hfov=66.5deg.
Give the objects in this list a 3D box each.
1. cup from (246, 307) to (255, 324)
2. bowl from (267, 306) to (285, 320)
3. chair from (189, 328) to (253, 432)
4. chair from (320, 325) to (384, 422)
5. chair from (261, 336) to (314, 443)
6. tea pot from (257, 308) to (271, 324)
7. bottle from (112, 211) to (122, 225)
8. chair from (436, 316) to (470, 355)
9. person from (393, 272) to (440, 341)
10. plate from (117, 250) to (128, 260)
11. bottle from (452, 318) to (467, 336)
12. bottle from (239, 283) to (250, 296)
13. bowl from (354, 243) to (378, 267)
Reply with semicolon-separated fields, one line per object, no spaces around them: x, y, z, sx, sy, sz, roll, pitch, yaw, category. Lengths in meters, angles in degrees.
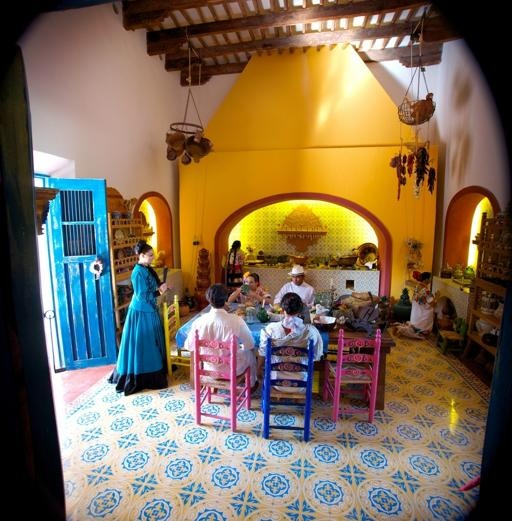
-0.072;0.706;4.983;0.105;0.162;0.128;-10;17;-36;cup
0.262;0.691;5.109;0.151;0.063;0.160;0;11;0;bowl
-0.382;1.283;4.433;0.511;1.056;0.582;3;6;4;chair
1.138;1.148;4.545;0.511;1.091;0.583;1;23;6;chair
0.312;1.374;3.846;0.519;1.036;0.573;3;4;9;chair
0.095;0.694;4.985;0.144;0.176;0.148;-2;15;0;tea pot
-2.291;-0.682;6.413;0.179;0.227;0.190;0;-2;0;bottle
3.299;1.206;6.690;0.483;0.823;0.473;0;12;3;chair
3.077;0.871;7.374;0.705;1.197;0.601;5;20;25;person
-2.249;-0.088;6.478;0.024;0.160;0.149;-2;-7;39;plate
3.393;1.111;6.503;0.199;0.346;0.207;-1;8;0;bottle
-0.158;0.425;5.595;0.111;0.085;0.147;-2;18;-5;bottle
2.612;-0.117;9.230;0.505;0.544;0.464;0;10;0;bowl
